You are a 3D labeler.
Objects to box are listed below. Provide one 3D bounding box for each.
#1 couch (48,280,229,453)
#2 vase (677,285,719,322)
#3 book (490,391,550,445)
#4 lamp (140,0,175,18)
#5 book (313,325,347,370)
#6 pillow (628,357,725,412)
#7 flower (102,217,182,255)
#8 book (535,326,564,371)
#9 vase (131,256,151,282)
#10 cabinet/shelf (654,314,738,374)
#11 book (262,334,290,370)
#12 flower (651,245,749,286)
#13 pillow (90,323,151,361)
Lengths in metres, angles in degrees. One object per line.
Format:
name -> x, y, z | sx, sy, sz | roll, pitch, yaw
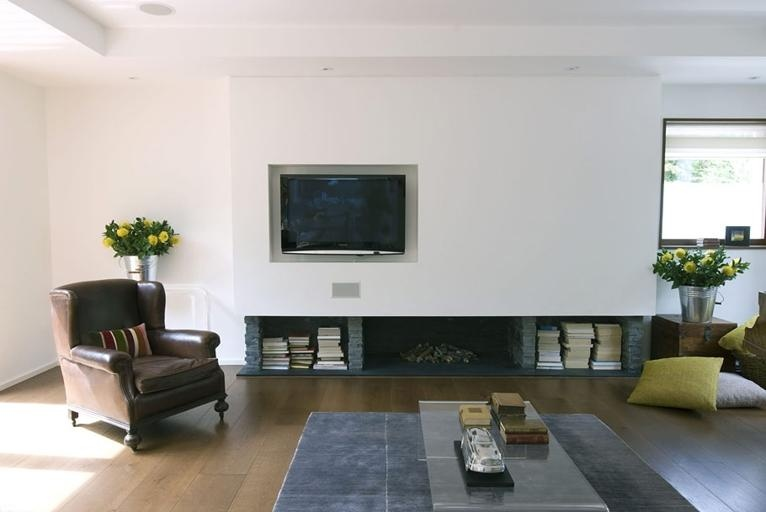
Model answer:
couch -> -2.389, 0.995, 5.981 | 1.721, 1.666, 1.521 | 1, 2, 31
vase -> 3.427, 0.523, 6.661 | 0.431, 0.355, 0.442 | 8, -8, -38
book -> 1.030, 1.262, 4.789 | 0.275, 0.104, 0.471 | 1, 15, -2
lamp -> -2.173, -2.399, 5.853 | 0.339, 0.061, 0.238 | 1, 5, 5
book -> -0.601, 1.035, 6.983 | 0.548, 0.450, 0.433 | 0, 0, 1
pillow -> 2.920, 1.222, 6.141 | 0.743, 0.261, 0.822 | -7, 20, 24
flower -> -2.745, -0.223, 7.017 | 0.642, 0.475, 0.808 | -10, 5, -33
book -> 1.907, 1.040, 6.938 | 0.359, 0.476, 0.238 | 0, 6, -5
vase -> -2.720, 0.135, 6.804 | 0.245, 0.265, 0.132 | -1, 6, -15
cabinet/shelf -> 3.385, 0.949, 6.638 | 0.656, 0.544, 0.636 | 0, 0, 0
book -> -1.232, 1.095, 6.959 | 0.421, 0.358, 0.324 | 1, 2, 2
flower -> 3.409, 0.189, 6.724 | 0.788, 0.419, 0.662 | -6, 0, -28
pillow -> -2.490, 0.814, 5.698 | 0.109, 0.226, 0.379 | -36, -24, 30
